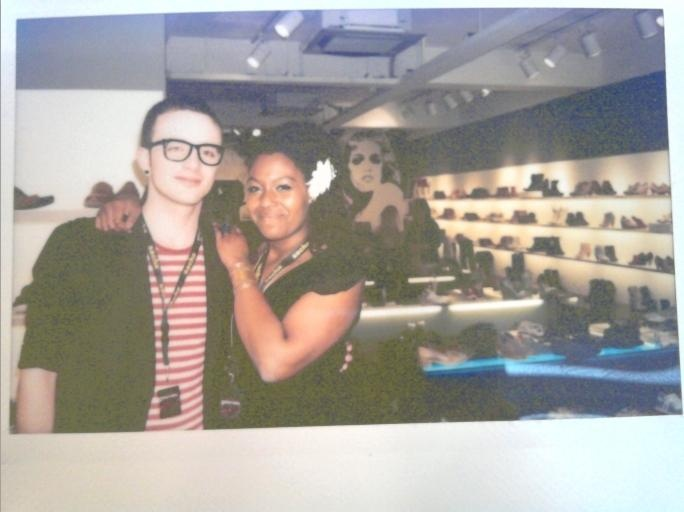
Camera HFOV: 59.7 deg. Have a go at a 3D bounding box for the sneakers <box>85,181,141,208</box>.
[{"bbox_3d":[-1.306,-0.358,3.401,0.234,0.091,0.162,-8,-10,-7],"label":"sneakers"}]
